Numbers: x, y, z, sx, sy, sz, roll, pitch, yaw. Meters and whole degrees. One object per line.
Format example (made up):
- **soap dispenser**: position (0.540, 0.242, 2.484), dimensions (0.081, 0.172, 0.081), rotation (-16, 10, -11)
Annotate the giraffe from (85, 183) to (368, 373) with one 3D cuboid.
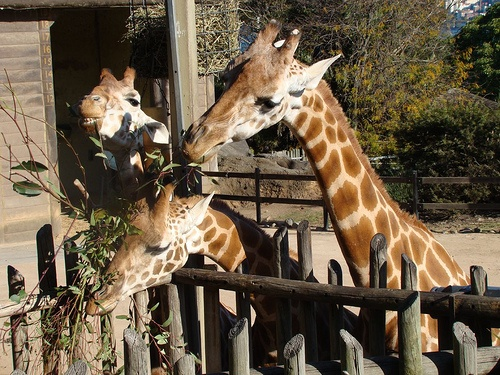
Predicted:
- **giraffe**: position (-0.333, 0.922, 6.647), dimensions (2.367, 1.954, 0.926), rotation (-6, 6, -39)
